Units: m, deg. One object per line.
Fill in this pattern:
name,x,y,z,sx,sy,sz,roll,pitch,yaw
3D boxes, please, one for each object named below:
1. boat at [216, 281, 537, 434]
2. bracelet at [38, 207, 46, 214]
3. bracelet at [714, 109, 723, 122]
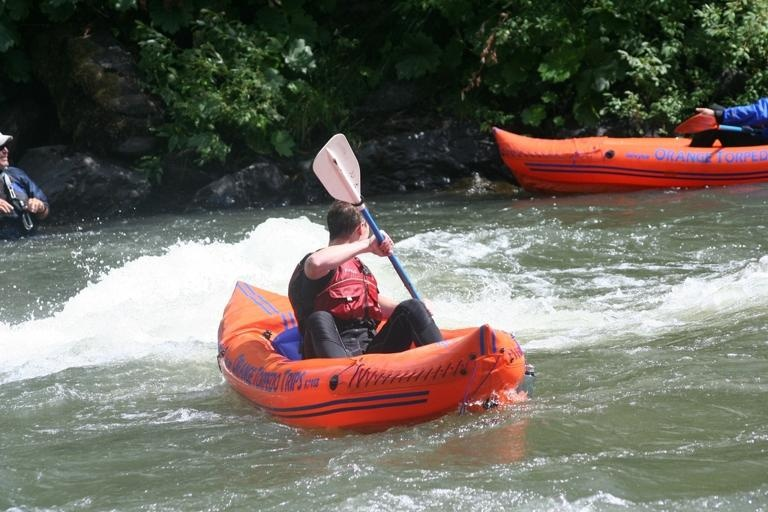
boat,-0.259,1.085,11.543,3.260,1.216,1.043,-3,10,26
bracelet,-4.871,-0.630,16.030,0.103,0.029,0.089,-13,-25,-26
bracelet,5.157,-2.142,17.298,0.156,0.179,0.069,3,-5,-2
